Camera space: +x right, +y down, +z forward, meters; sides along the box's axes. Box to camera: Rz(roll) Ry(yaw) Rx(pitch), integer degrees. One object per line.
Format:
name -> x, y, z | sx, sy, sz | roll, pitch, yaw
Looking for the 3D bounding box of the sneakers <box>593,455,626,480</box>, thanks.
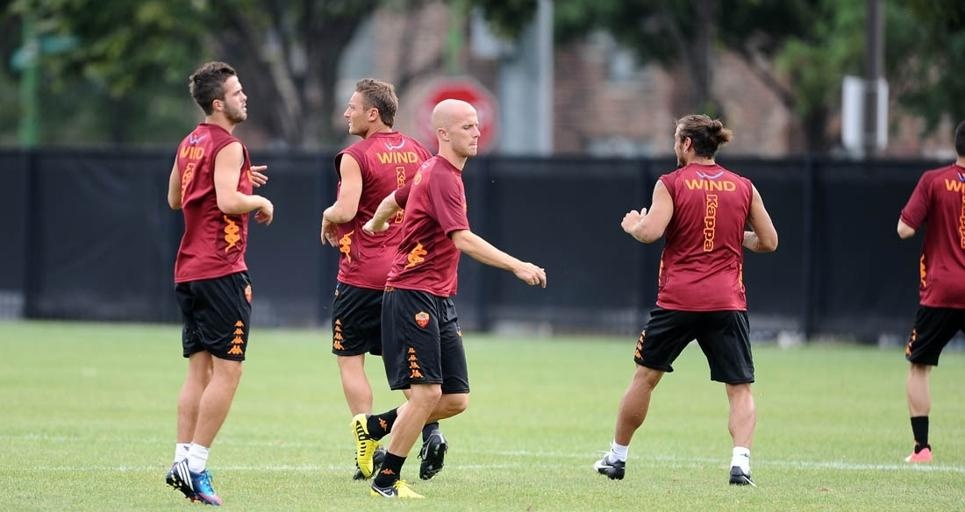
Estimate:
sneakers -> 1.824, 3.025, 20.575 | 0.222, 0.232, 0.513 | 2, 5, -13
